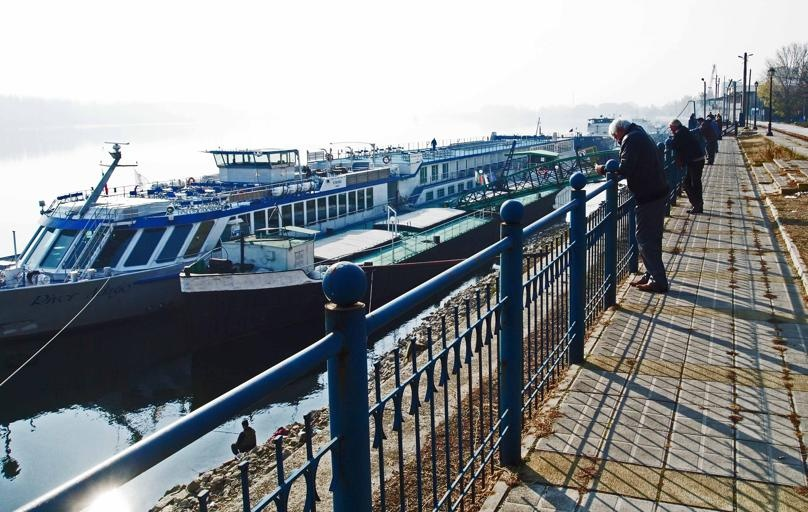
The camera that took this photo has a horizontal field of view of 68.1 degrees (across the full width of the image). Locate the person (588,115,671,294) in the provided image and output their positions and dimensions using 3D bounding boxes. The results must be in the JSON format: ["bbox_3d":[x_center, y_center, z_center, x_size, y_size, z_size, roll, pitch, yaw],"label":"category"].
[{"bbox_3d":[3.388,-0.698,8.665,0.940,2.560,0.470,-7,17,-12],"label":"person"}]

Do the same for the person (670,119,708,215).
[{"bbox_3d":[6.585,-2.120,13.971,0.773,2.155,1.023,4,18,25],"label":"person"}]
